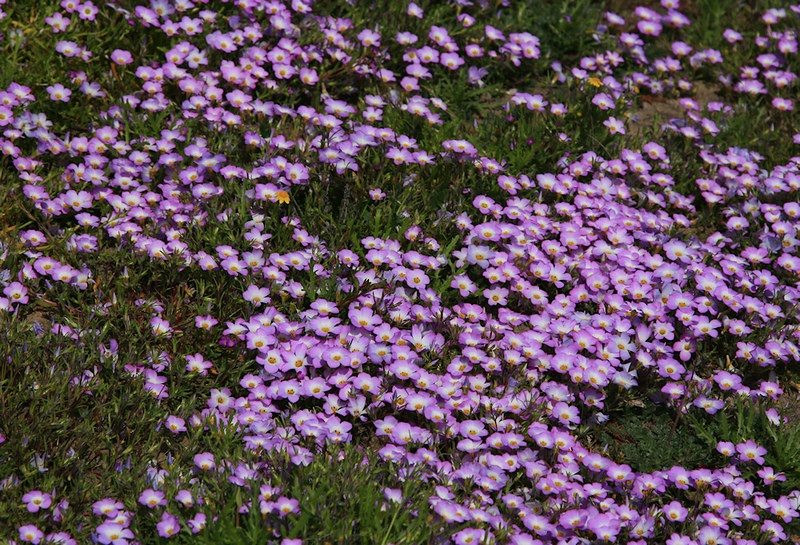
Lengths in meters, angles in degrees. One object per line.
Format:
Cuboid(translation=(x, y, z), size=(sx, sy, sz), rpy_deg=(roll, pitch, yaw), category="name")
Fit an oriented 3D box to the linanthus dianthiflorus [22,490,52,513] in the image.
Cuboid(translation=(-2.261, 1.411, 5.970), size=(0.171, 0.095, 0.126), rpy_deg=(-4, 61, -11), category="linanthus dianthiflorus")
